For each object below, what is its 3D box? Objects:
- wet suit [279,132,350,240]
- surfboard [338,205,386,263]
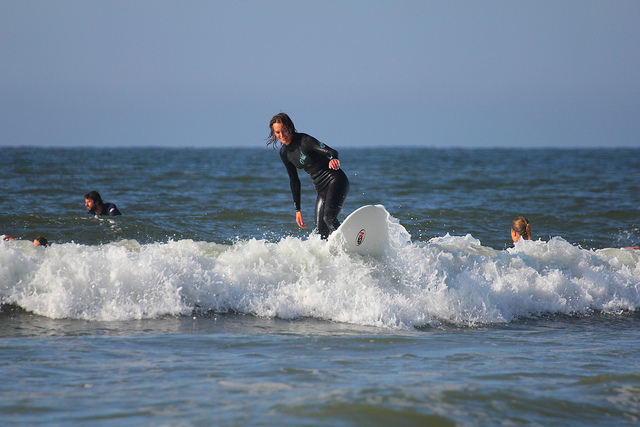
[{"bbox_3d":[-0.073,-0.452,14.193,1.116,1.744,1.187,0,0,-2],"label":"wet suit"},{"bbox_3d":[0.588,0.363,13.461,0.267,0.787,1.348,-6,2,17],"label":"surfboard"}]
